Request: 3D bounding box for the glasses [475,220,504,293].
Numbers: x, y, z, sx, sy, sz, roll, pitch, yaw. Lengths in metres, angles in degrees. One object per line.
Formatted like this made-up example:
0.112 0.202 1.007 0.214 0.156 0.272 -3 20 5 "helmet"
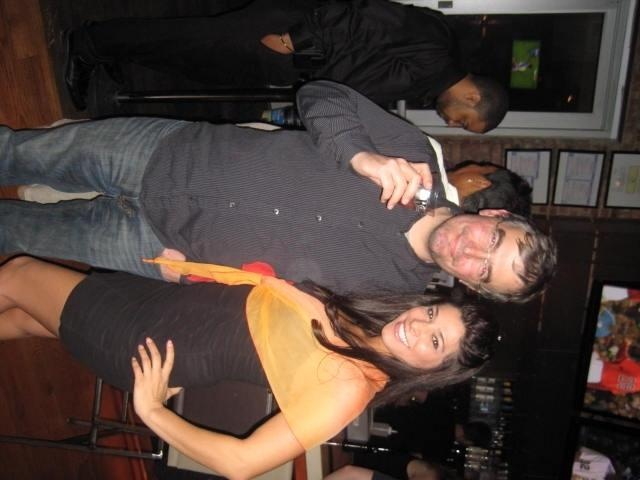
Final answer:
0.713 0.077 2.123 0.112 0.185 0.265 11 19 4 "glasses"
